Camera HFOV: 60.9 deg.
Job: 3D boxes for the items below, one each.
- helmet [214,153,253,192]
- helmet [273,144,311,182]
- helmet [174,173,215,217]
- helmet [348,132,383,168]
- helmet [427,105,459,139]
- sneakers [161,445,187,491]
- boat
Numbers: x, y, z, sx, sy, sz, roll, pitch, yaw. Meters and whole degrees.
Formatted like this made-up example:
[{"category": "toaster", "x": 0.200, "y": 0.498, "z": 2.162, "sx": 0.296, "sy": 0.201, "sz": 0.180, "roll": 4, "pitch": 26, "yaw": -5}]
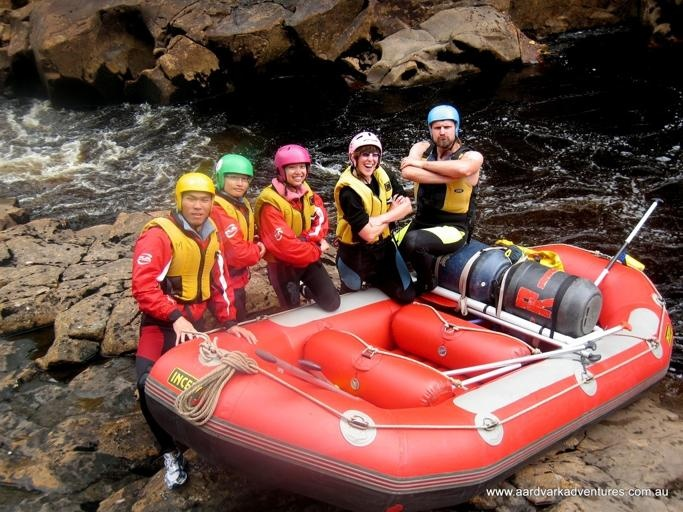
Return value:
[{"category": "helmet", "x": -1.059, "y": -0.796, "z": 5.557, "sx": 0.406, "sy": 0.260, "sz": 0.300, "roll": 2, "pitch": 5, "yaw": 32}, {"category": "helmet", "x": -0.485, "y": -0.882, "z": 5.498, "sx": 0.400, "sy": 0.273, "sz": 0.340, "roll": 13, "pitch": 21, "yaw": 42}, {"category": "helmet", "x": -1.235, "y": -0.551, "z": 4.990, "sx": 0.345, "sy": 0.274, "sz": 0.360, "roll": 7, "pitch": -3, "yaw": -20}, {"category": "helmet", "x": 0.180, "y": -1.001, "z": 5.503, "sx": 0.279, "sy": 0.260, "sz": 0.359, "roll": -12, "pitch": 7, "yaw": -43}, {"category": "helmet", "x": 1.010, "y": -1.341, "z": 5.726, "sx": 0.284, "sy": 0.245, "sz": 0.343, "roll": -5, "pitch": 14, "yaw": 16}, {"category": "sneakers", "x": -1.361, "y": 1.723, "z": 4.725, "sx": 0.205, "sy": 0.213, "sz": 0.356, "roll": -6, "pitch": 6, "yaw": -6}, {"category": "boat", "x": 1.006, "y": 0.994, "z": 4.867, "sx": 3.964, "sy": 0.862, "sz": 2.255, "roll": -17, "pitch": 23, "yaw": -29}]
